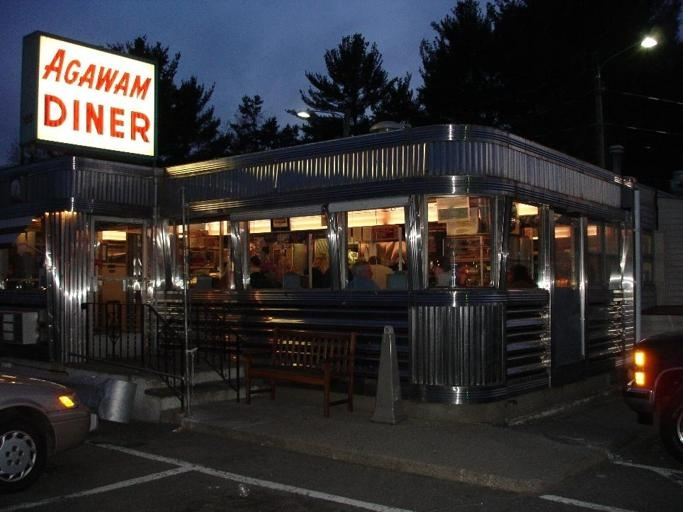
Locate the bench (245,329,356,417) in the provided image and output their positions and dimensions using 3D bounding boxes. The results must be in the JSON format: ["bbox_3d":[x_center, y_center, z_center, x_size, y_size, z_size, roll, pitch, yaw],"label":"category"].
[{"bbox_3d":[-0.742,1.947,10.646,1.902,1.378,0.898,-3,-7,41],"label":"bench"}]

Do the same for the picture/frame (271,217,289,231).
[{"bbox_3d":[-1.156,-0.569,11.973,0.384,0.392,0.219,1,0,30],"label":"picture/frame"}]

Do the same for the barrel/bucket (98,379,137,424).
[{"bbox_3d":[-3.616,2.370,10.338,0.577,0.723,0.598,12,-14,3],"label":"barrel/bucket"}]
